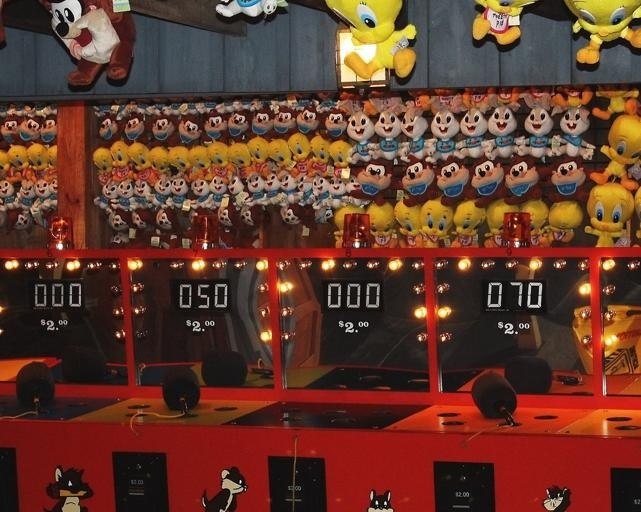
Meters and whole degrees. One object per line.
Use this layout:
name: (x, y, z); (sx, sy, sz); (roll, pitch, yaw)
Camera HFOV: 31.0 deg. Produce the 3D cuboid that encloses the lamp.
lamp: (0.200, -1.188, 6.837); (0.310, 0.338, 0.085); (5, 15, 16)
